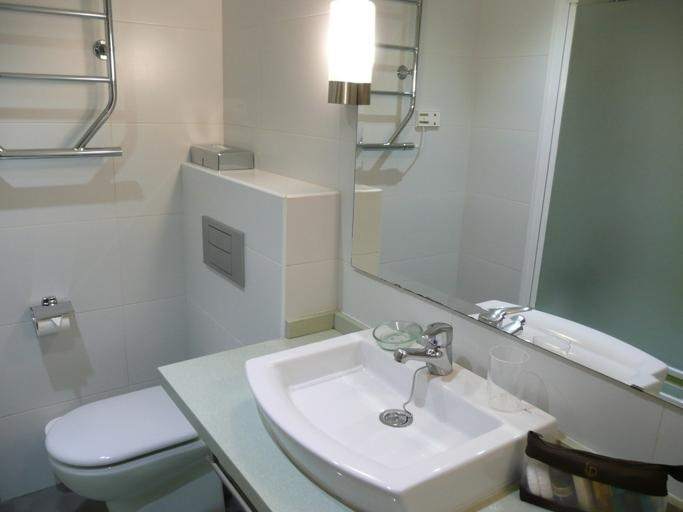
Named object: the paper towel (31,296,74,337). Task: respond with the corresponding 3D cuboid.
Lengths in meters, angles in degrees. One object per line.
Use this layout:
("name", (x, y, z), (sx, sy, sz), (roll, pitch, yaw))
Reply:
("paper towel", (-1.313, 0.270, 2.177), (0.161, 0.141, 0.124), (-13, 24, -35))
